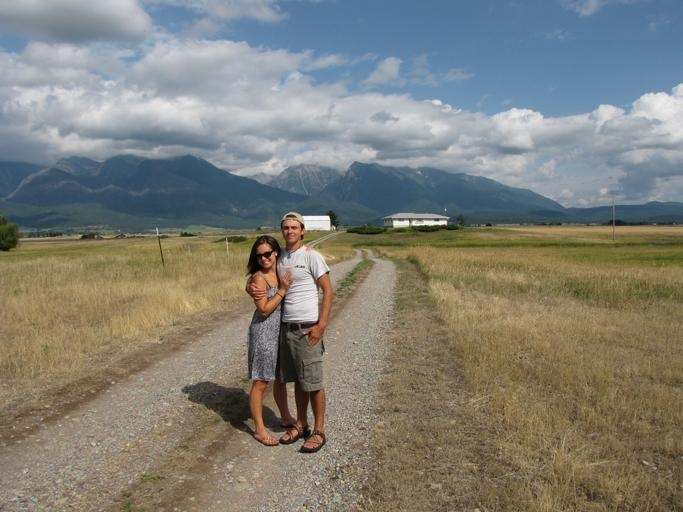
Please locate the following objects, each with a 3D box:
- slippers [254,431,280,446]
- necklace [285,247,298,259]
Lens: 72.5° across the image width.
[{"bbox_3d":[-1.592,3.921,9.931,0.451,0.201,0.245,3,0,23],"label":"slippers"},{"bbox_3d":[-1.108,-0.061,9.860,0.217,0.091,0.230,-5,-37,4],"label":"necklace"}]
